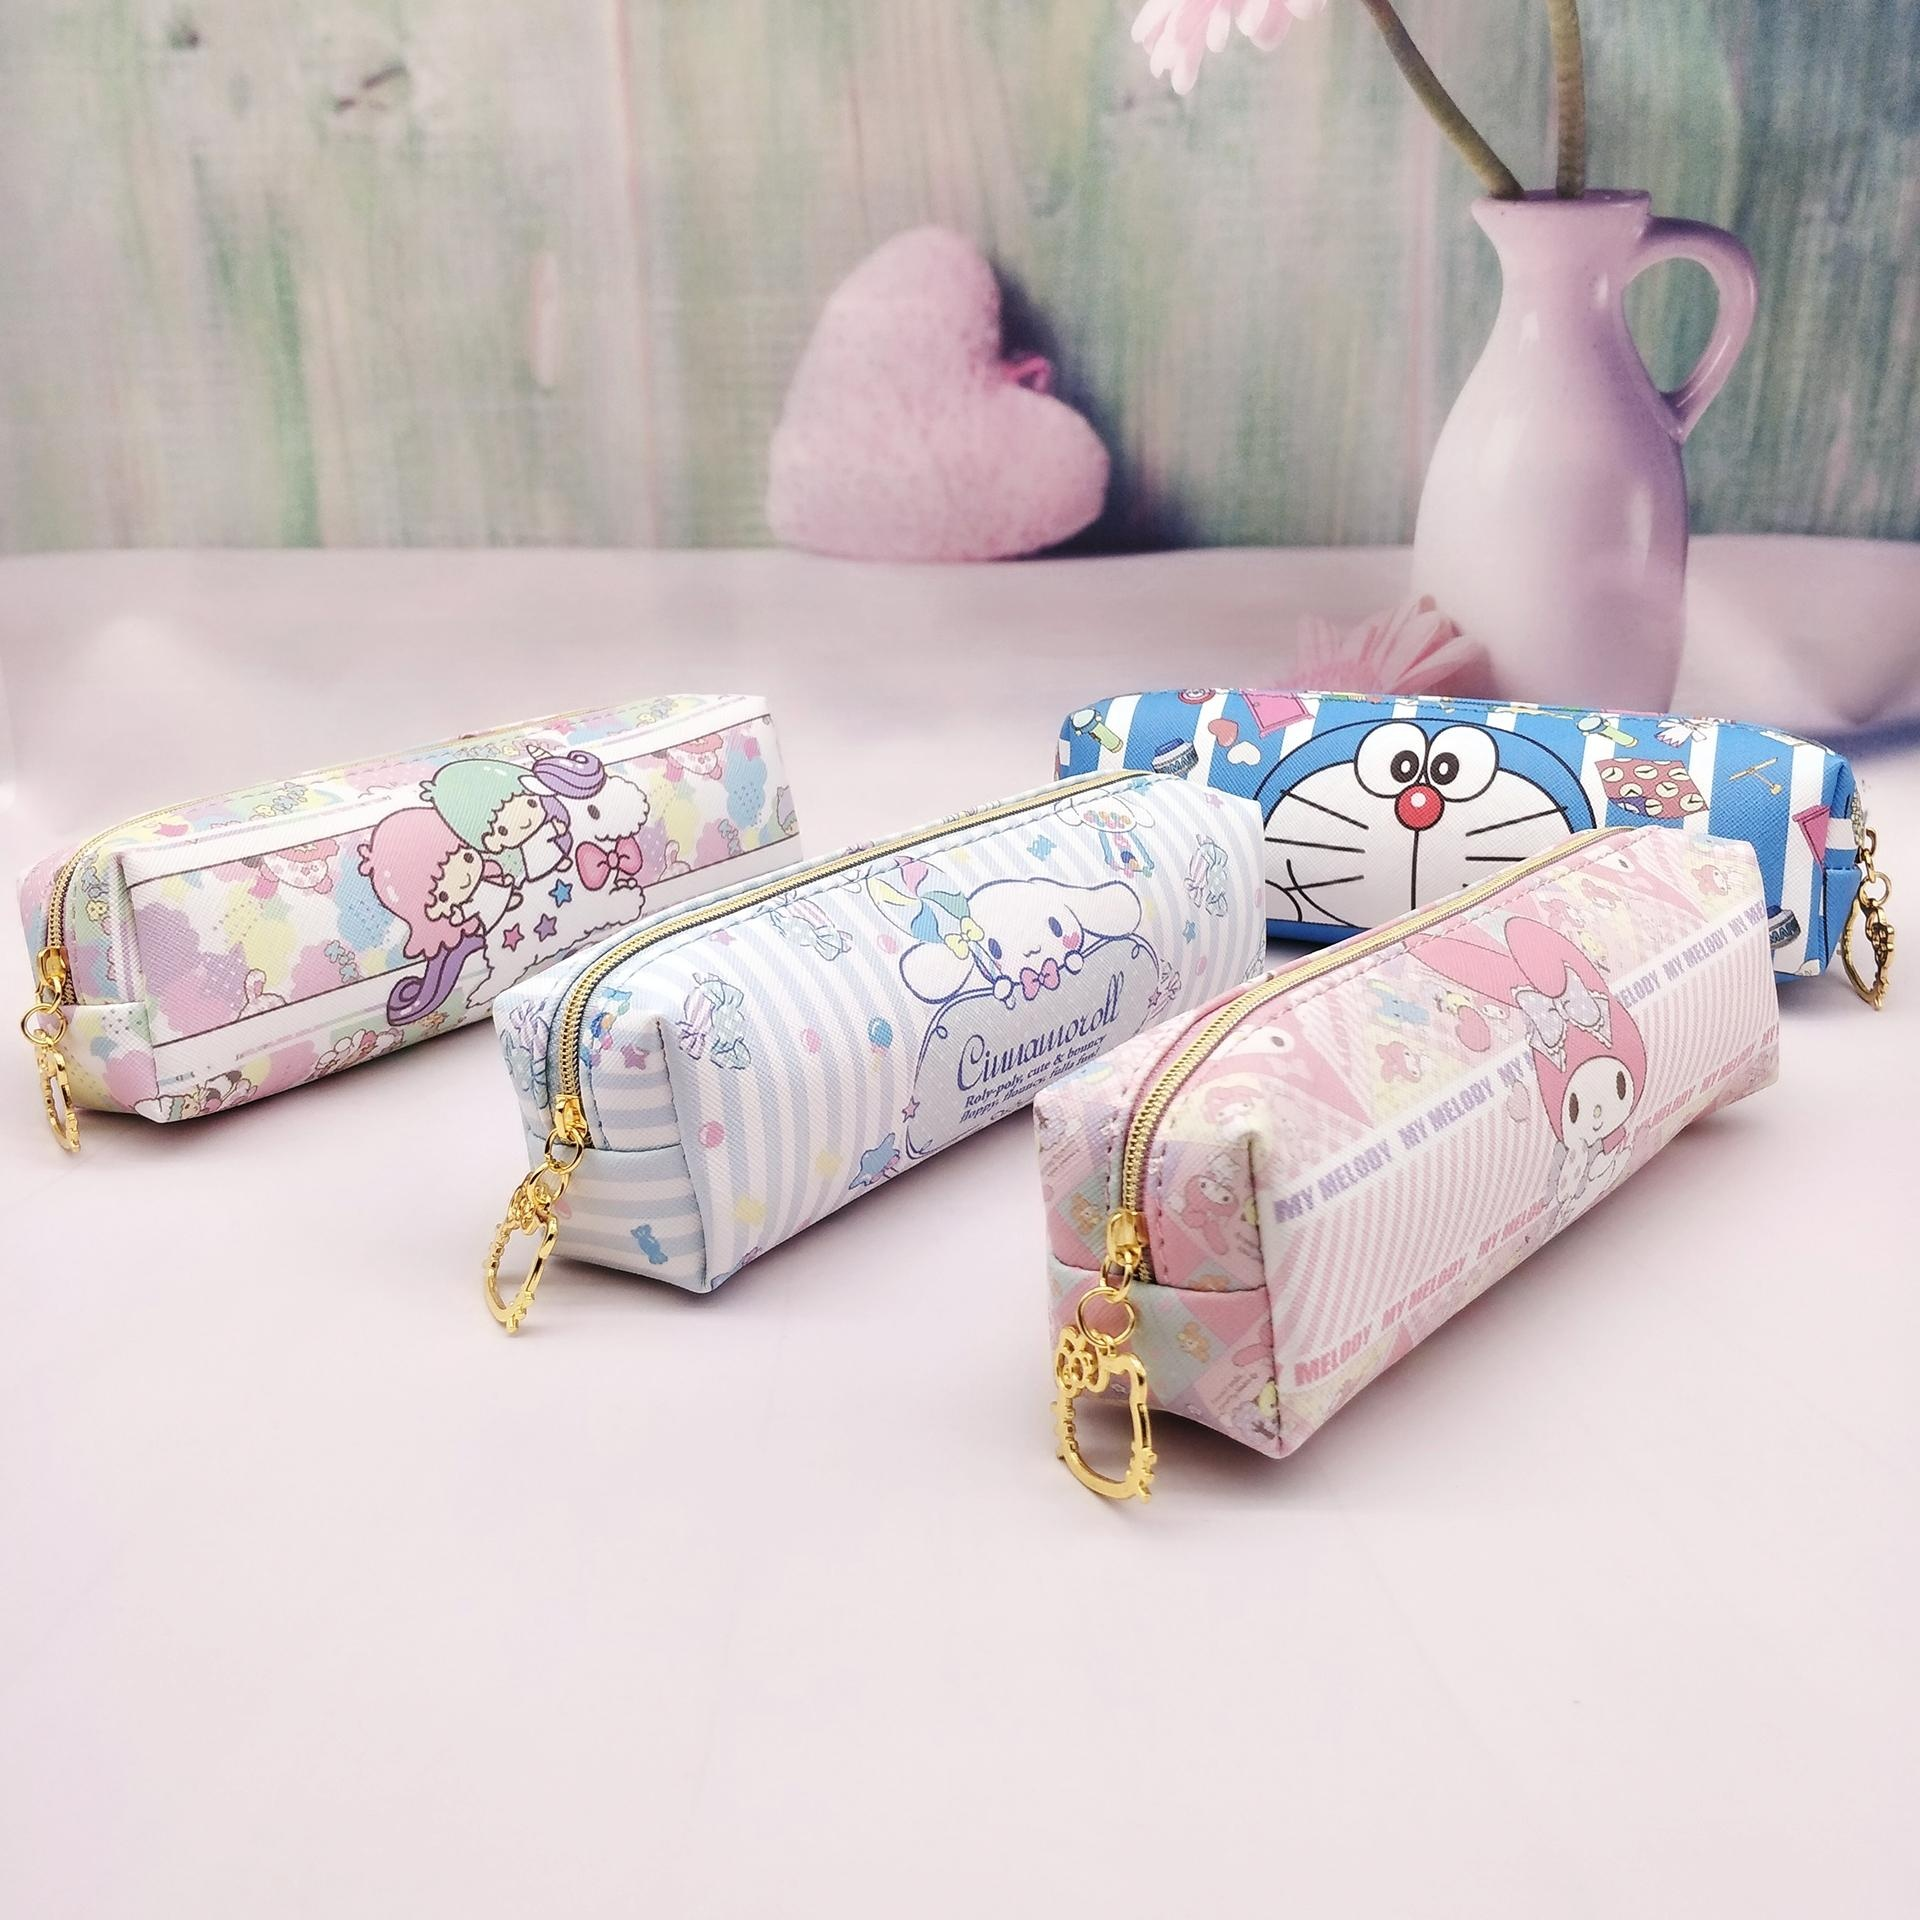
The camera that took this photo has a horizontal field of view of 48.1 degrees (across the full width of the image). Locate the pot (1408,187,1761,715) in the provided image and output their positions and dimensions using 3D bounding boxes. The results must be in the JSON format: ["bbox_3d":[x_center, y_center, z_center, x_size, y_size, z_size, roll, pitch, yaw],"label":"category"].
[{"bbox_3d":[0.591,-0.474,2.023,0.321,0.474,0.181,-2,21,8],"label":"pot"}]

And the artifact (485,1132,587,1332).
[{"bbox_3d":[-0.237,0.149,1.216,0.016,0.115,0.060,16,-3,5],"label":"artifact"}]

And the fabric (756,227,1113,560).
[{"bbox_3d":[-0.030,-0.662,2.538,0.407,0.370,0.100,1,22,16],"label":"fabric"}]

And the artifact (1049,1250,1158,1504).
[{"bbox_3d":[0.066,0.192,1.022,0.045,0.109,0.093,-3,21,4],"label":"artifact"}]
